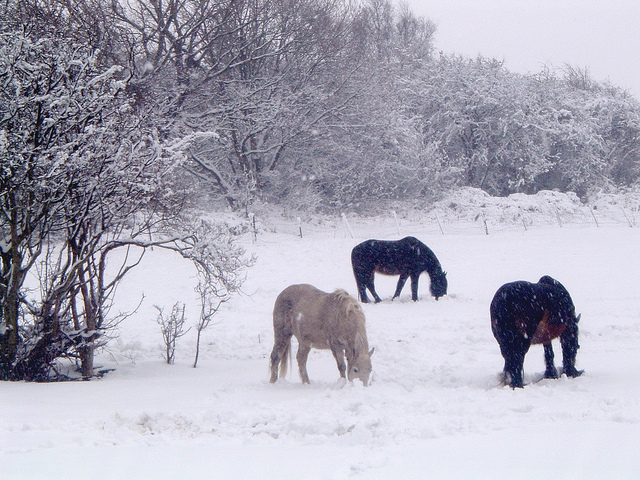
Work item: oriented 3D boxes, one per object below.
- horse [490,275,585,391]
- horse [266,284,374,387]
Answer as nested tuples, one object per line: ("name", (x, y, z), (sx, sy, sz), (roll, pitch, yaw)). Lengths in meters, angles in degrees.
("horse", (4.288, 1.677, 14.593), (2.835, 2.170, 0.795), (7, -12, -42))
("horse", (0.089, 2.039, 15.111), (0.938, 2.152, 3.397), (4, 0, -36))
